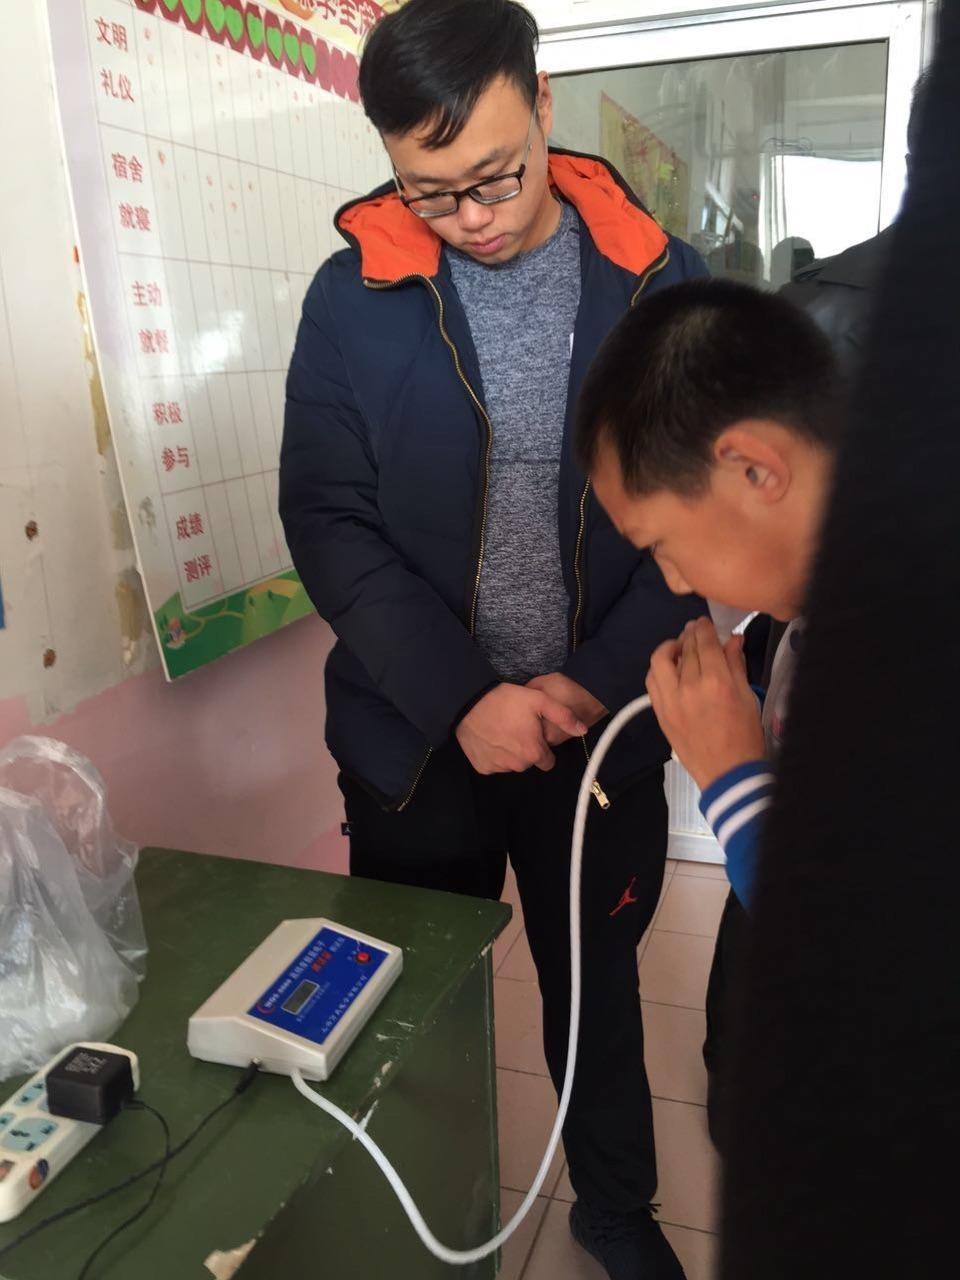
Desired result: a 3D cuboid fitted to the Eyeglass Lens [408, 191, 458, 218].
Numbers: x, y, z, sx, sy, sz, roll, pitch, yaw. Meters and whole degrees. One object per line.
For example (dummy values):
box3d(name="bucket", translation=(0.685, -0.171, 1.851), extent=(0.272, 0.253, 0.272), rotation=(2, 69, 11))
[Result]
box3d(name="Eyeglass Lens", translation=(-0.061, -0.560, 1.207), extent=(0.035, 0.031, 0.079), rotation=(-21, 24, -39))
